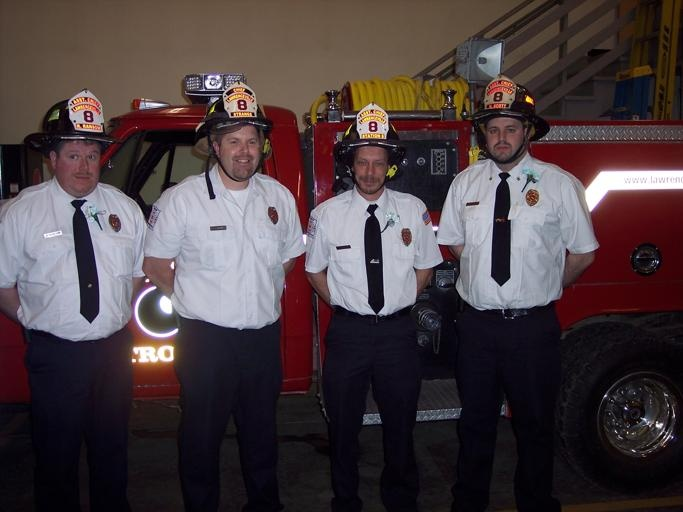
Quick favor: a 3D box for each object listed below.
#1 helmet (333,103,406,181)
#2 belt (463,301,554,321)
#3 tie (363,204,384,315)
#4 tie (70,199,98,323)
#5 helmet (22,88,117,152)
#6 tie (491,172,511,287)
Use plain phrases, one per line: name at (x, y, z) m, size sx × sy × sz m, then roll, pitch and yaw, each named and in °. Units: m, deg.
helmet at (0.186, -0.742, 3.795) m, size 0.403 × 0.351 × 0.528 m, roll 2°, pitch -13°, yaw -1°
belt at (1.029, 0.346, 3.817) m, size 0.584 × 0.106 × 0.163 m, roll 3°, pitch 11°, yaw 13°
tie at (0.206, 0.016, 3.811) m, size 0.117 × 0.648 × 0.233 m, roll 0°, pitch 10°, yaw -1°
tie at (-1.487, 0.028, 3.561) m, size 0.111 × 0.680 × 0.234 m, roll -5°, pitch 11°, yaw -24°
helmet at (-1.604, -0.744, 3.610) m, size 0.447 × 0.244 × 0.356 m, roll -6°, pitch 0°, yaw 27°
tie at (1.002, -0.166, 3.788) m, size 0.115 × 0.663 × 0.239 m, roll 2°, pitch 10°, yaw 14°
